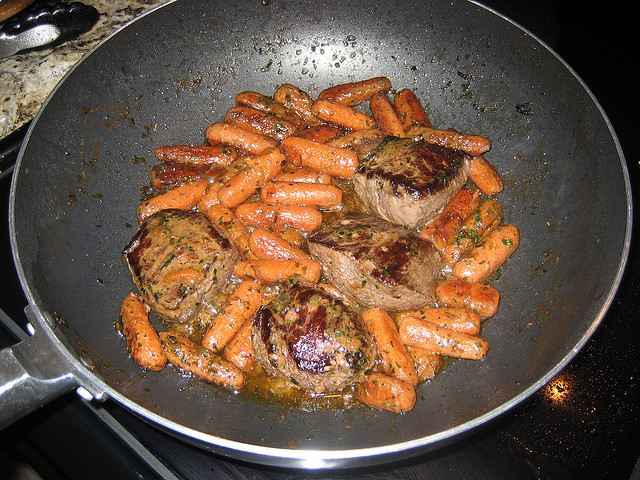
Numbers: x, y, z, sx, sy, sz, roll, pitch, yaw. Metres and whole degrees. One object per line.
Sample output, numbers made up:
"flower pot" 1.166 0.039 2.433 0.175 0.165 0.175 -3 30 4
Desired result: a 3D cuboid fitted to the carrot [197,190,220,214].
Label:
"carrot" -1.030 -0.352 5.821 0.209 0.174 0.121 -40 -59 -5
